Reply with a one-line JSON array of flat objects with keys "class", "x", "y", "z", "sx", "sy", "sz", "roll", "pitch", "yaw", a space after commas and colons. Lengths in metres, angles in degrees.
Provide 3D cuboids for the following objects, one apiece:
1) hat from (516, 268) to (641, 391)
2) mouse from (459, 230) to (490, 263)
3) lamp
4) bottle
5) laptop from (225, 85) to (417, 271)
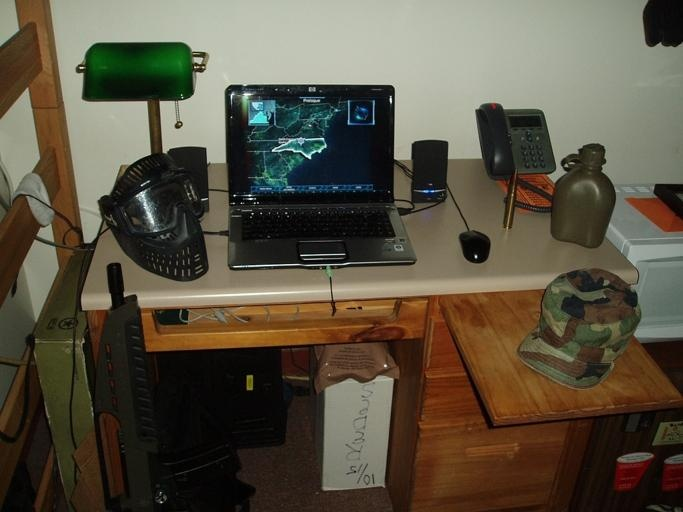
[{"class": "hat", "x": 0.561, "y": 0.148, "z": 1.326, "sx": 0.285, "sy": 0.164, "sz": 0.214, "roll": -29, "pitch": 49, "yaw": -18}, {"class": "mouse", "x": 0.373, "y": -0.032, "z": 1.579, "sx": 0.085, "sy": 0.044, "sz": 0.125, "roll": 1, "pitch": 31, "yaw": 14}, {"class": "lamp", "x": -0.569, "y": -0.449, "z": 1.682, "sx": 0.355, "sy": 0.375, "sz": 0.210, "roll": -6, "pitch": 32, "yaw": -10}, {"class": "bottle", "x": 0.686, "y": -0.173, "z": 1.607, "sx": 0.174, "sy": 0.289, "sz": 0.117, "roll": 20, "pitch": 43, "yaw": 30}, {"class": "laptop", "x": -0.082, "y": -0.203, "z": 1.643, "sx": 0.591, "sy": 0.430, "sz": 0.529, "roll": -3, "pitch": 51, "yaw": -5}]
